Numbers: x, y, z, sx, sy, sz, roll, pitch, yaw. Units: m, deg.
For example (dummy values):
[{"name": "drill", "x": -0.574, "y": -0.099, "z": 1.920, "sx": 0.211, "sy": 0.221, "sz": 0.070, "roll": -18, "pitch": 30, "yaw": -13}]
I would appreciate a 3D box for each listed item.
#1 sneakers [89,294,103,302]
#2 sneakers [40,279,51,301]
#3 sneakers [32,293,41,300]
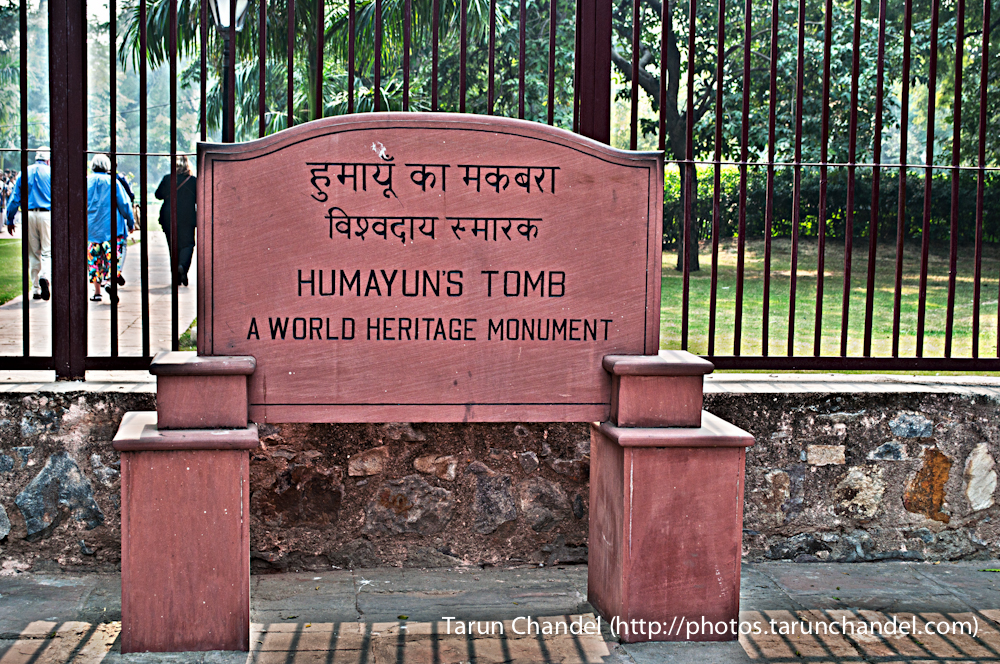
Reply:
[{"name": "sneakers", "x": -4.147, "y": -0.347, "z": 13.205, "sx": 0.086, "sy": 0.100, "sz": 0.254, "roll": 1, "pitch": 5, "yaw": -16}, {"name": "sneakers", "x": -4.186, "y": -0.394, "z": 11.824, "sx": 0.082, "sy": 0.205, "sz": 0.083, "roll": -7, "pitch": 39, "yaw": -16}, {"name": "sneakers", "x": -4.687, "y": -0.363, "z": 13.003, "sx": 0.062, "sy": 0.072, "sz": 0.183, "roll": 1, "pitch": -5, "yaw": -26}]
